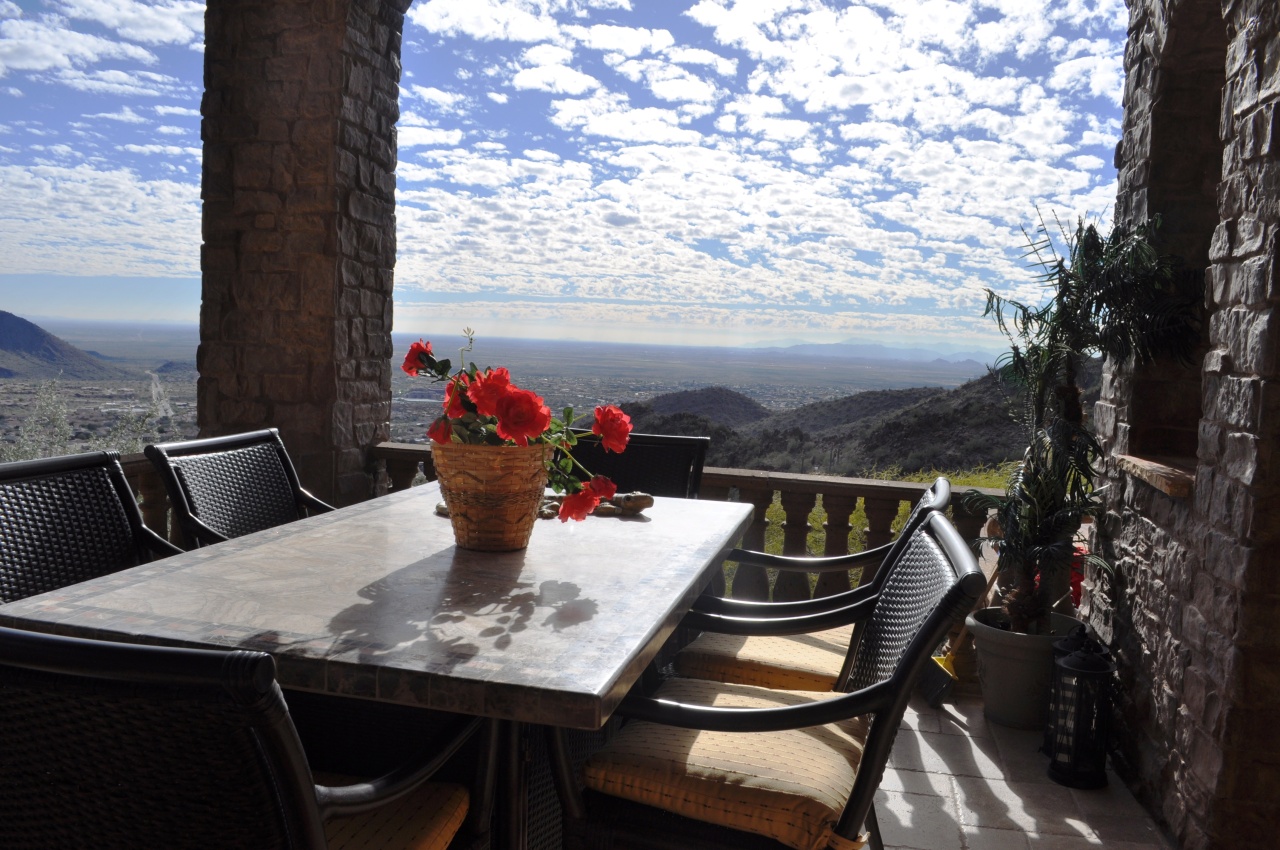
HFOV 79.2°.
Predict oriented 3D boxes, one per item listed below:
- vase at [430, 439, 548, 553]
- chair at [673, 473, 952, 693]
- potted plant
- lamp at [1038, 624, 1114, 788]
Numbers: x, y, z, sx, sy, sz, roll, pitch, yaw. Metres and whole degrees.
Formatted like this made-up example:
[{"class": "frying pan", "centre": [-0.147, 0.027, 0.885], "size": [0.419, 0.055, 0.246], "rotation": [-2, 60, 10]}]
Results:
[{"class": "vase", "centre": [-0.453, 0.217, 2.378], "size": [0.381, 0.288, 0.377], "rotation": [4, -4, -42]}, {"class": "chair", "centre": [0.564, 0.500, 2.867], "size": [0.855, 1.076, 0.721], "rotation": [10, 9, 13]}, {"class": "potted plant", "centre": [1.824, 0.019, 3.469], "size": [0.369, 1.835, 0.589], "rotation": [-4, 17, -35]}, {"class": "lamp", "centre": [1.814, 1.159, 3.179], "size": [0.291, 0.548, 0.371], "rotation": [13, 15, 30]}]
